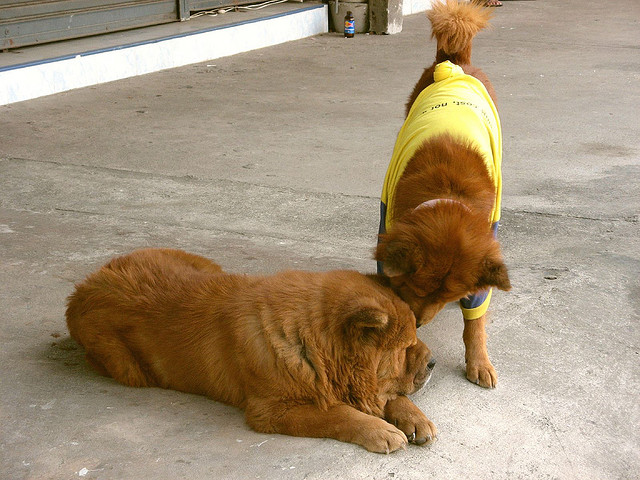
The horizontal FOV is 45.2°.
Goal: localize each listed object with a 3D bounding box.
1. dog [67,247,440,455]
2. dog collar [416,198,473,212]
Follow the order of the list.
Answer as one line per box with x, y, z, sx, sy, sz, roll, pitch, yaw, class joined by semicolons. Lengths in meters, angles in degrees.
-0.401;0.615;4.703;2.040;0.623;1.089;9;19;12;dog
0.741;-0.203;4.632;0.335;0.092;0.175;0;26;7;dog collar
